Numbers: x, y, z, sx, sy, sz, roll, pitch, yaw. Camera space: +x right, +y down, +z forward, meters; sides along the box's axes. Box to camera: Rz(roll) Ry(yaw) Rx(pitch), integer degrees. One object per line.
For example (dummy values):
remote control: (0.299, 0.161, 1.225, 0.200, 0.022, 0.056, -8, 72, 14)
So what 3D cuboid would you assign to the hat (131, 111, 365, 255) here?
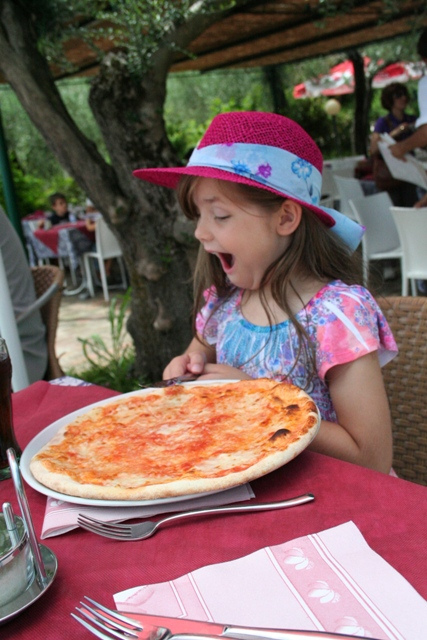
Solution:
hat: (0.098, -0.353, 1.251, 0.501, 0.245, 0.355, 1, 17, -30)

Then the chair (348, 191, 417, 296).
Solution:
chair: (1.662, -0.632, 4.708, 0.749, 0.886, 0.670, -6, 8, 0)

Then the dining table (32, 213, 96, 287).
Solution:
dining table: (-0.523, -0.234, 1.919, 0.253, 0.176, 0.259, -6, 12, 2)

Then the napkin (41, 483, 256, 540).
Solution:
napkin: (-0.087, 0.233, 0.657, 0.178, 0.023, 0.096, -2, 6, -2)

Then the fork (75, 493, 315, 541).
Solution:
fork: (-0.020, 0.230, 0.620, 0.356, 0.038, 0.049, 1, 2, -2)

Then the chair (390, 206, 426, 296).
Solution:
chair: (1.364, -0.476, 3.637, 0.214, 0.614, 0.456, -9, 9, 19)
